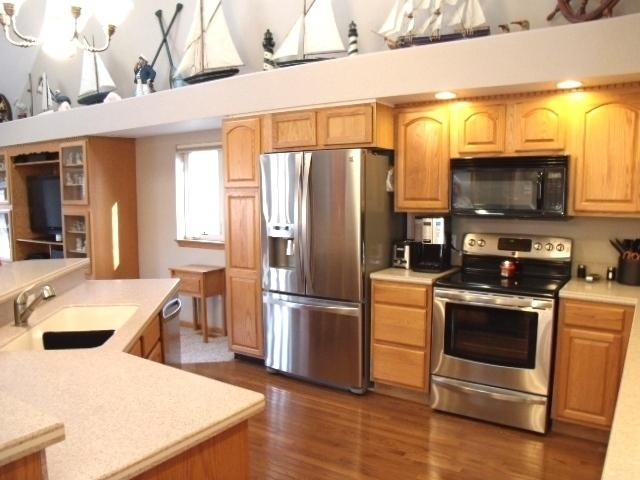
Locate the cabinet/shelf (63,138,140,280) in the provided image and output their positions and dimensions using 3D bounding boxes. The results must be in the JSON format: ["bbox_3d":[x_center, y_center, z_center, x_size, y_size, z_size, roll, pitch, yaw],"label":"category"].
[{"bbox_3d":[-2.645,-0.353,6.309,0.901,1.745,0.625,-5,12,-20],"label":"cabinet/shelf"}]

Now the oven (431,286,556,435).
[{"bbox_3d":[1.363,0.839,4.054,0.912,1.048,0.763,3,8,22],"label":"oven"}]

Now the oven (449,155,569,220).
[{"bbox_3d":[1.436,-0.386,4.019,0.815,0.472,0.392,2,2,23],"label":"oven"}]

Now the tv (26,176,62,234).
[{"bbox_3d":[-3.646,-0.480,6.901,0.756,0.802,0.108,3,10,43],"label":"tv"}]
